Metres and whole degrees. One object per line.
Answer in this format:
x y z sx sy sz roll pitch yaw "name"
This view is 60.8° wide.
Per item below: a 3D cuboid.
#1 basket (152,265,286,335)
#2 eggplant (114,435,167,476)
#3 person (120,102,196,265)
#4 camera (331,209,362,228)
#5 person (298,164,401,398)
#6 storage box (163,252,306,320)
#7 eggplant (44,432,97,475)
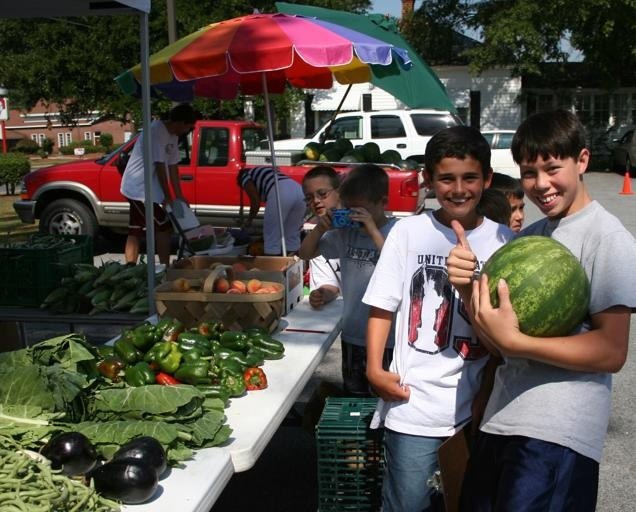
-0.553 0.132 3.307 0.671 0.429 0.654 7 12 9 "basket"
-0.605 0.670 1.844 0.146 0.088 0.119 2 -11 38 "eggplant"
-2.173 -1.067 7.237 0.962 2.737 1.042 0 18 -30 "person"
0.155 -0.230 3.397 0.152 0.108 0.113 1 -3 16 "camera"
0.214 0.129 3.554 0.634 1.429 0.642 3 12 -10 "person"
-0.519 0.248 3.498 0.813 0.425 0.593 6 12 14 "storage box"
-0.817 0.662 1.784 0.150 0.129 0.118 -1 -5 5 "eggplant"
